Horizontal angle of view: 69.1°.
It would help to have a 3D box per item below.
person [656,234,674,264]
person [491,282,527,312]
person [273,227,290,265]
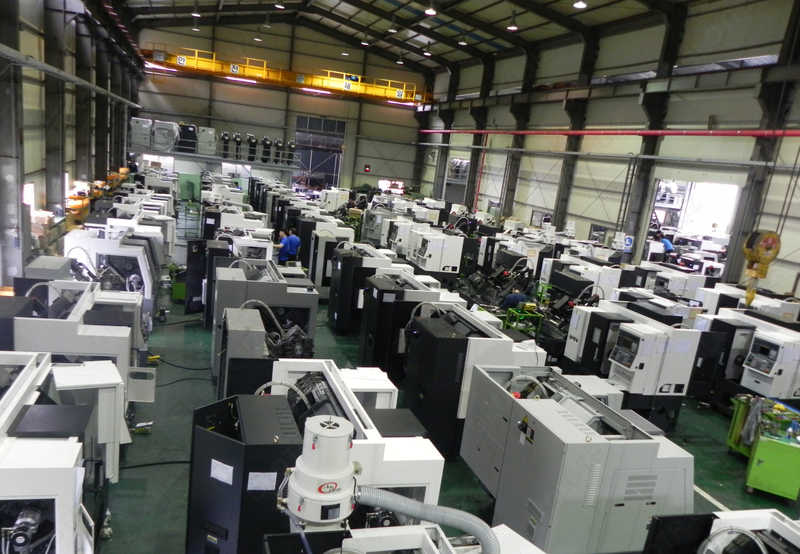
[{"bbox_3d":[8.320,-0.932,18.256,0.533,0.859,1.654,11,11,24],"label":"person"},{"bbox_3d":[2.501,0.505,13.005,0.603,0.645,2.073,8,10,10],"label":"person"},{"bbox_3d":[-2.951,-0.768,14.731,0.360,0.764,1.086,5,10,-11],"label":"person"}]
